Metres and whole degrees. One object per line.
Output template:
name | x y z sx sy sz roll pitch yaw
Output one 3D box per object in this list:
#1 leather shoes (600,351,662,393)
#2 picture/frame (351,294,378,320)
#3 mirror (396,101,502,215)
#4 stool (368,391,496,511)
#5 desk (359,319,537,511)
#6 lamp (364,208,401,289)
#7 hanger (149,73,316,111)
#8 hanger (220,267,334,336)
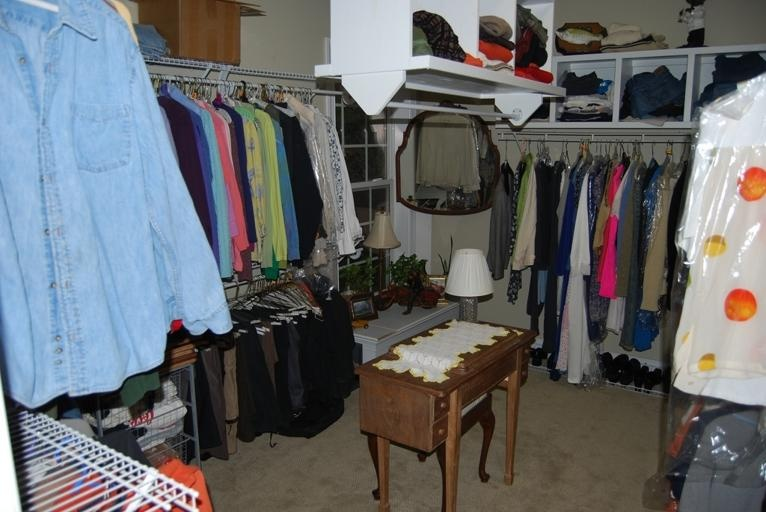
leather shoes | 2.006 0.960 4.830 0.391 0.144 0.286 -16 24 -41
picture/frame | -0.158 0.410 4.679 0.182 0.165 0.021 -6 -6 -41
mirror | 0.607 -0.916 5.327 0.993 1.097 0.052 5 21 12
stool | 0.291 1.018 3.517 0.629 0.651 0.678 3 7 34
desk | 0.375 0.955 3.361 0.407 0.762 0.874 7 14 31
lamp | -0.022 -0.013 5.073 0.285 0.839 0.743 -1 17 -2
hanger | -0.979 -1.040 3.768 1.146 0.220 0.457 -16 23 -41
hanger | -0.701 0.324 4.136 0.539 0.190 0.400 7 12 39
